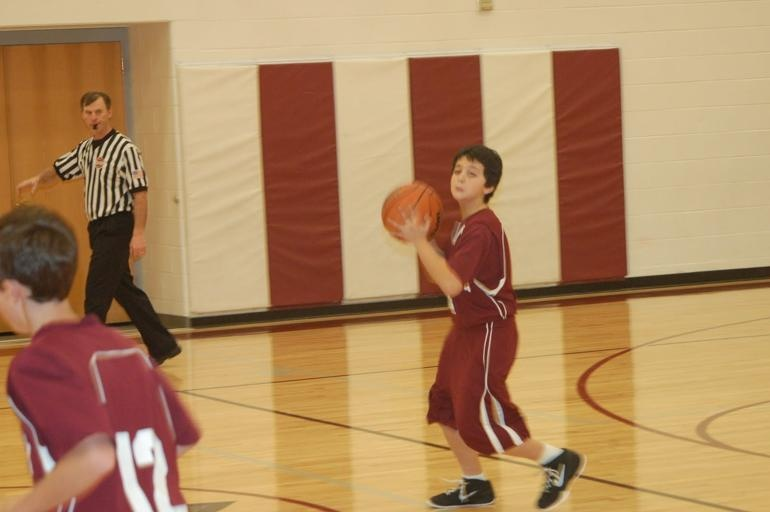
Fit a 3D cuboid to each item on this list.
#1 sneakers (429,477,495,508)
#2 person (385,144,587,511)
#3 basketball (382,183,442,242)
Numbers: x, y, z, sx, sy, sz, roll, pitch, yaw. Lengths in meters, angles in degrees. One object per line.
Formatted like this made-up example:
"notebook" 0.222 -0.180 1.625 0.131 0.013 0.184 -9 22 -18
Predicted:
"sneakers" 0.399 1.189 4.276 0.293 0.125 0.145 0 -2 -1
"person" 0.485 0.364 4.142 0.798 1.758 0.475 -2 11 0
"basketball" 0.181 -0.266 4.321 0.333 0.178 0.338 7 17 15
